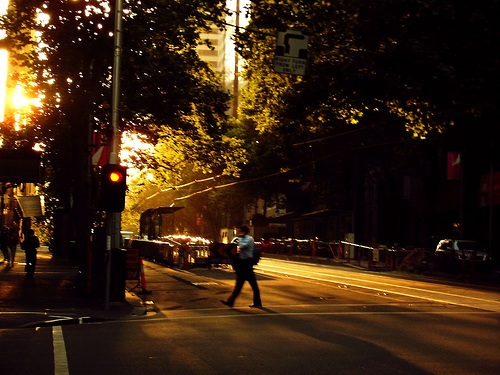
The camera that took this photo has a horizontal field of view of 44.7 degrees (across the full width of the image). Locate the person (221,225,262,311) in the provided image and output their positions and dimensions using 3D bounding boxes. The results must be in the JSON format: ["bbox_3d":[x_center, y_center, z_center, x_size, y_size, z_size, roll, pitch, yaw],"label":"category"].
[{"bbox_3d":[-0.162,2.187,16.794,1.036,2.286,1.187,4,-7,-11],"label":"person"}]

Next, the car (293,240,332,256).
[{"bbox_3d":[5.259,5.037,50.901,2.648,0.804,1.212,-5,-5,37],"label":"car"}]

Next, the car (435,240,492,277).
[{"bbox_3d":[11.106,3.513,31.918,1.955,1.607,3.205,3,-14,-16],"label":"car"}]

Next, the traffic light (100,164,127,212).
[{"bbox_3d":[-3.474,-0.002,15.458,0.617,1.241,0.338,4,-7,-14],"label":"traffic light"}]
